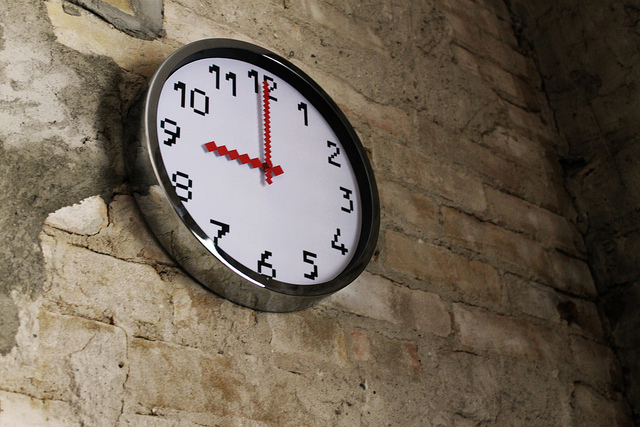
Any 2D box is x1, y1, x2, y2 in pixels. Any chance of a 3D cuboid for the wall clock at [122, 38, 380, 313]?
[{"bbox_3d":[-0.175,-0.109,3.660,0.657,0.197,0.785,-44,91,-13],"label":"wall clock"}]
